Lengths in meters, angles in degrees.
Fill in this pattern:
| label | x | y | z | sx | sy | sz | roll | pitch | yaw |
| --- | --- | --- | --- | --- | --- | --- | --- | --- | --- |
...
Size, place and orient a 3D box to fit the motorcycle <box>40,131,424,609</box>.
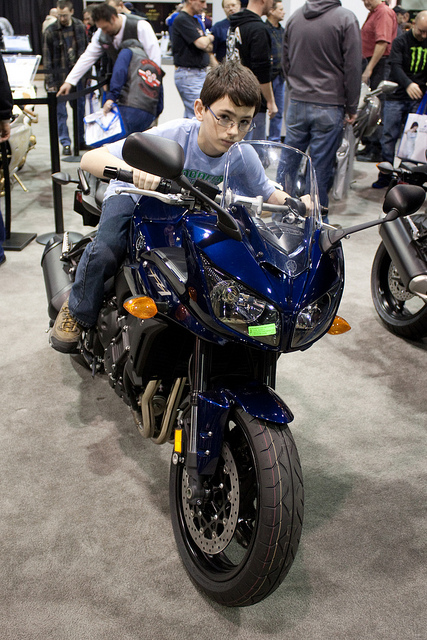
| label | x | y | z | sx | sy | sz | roll | pitch | yaw |
| --- | --- | --- | --- | --- | --- | --- | --- | --- | --- |
| motorcycle | -0.040 | -0.152 | 1.746 | 0.720 | 1.043 | 1.752 | 1 | 24 | -24 |
